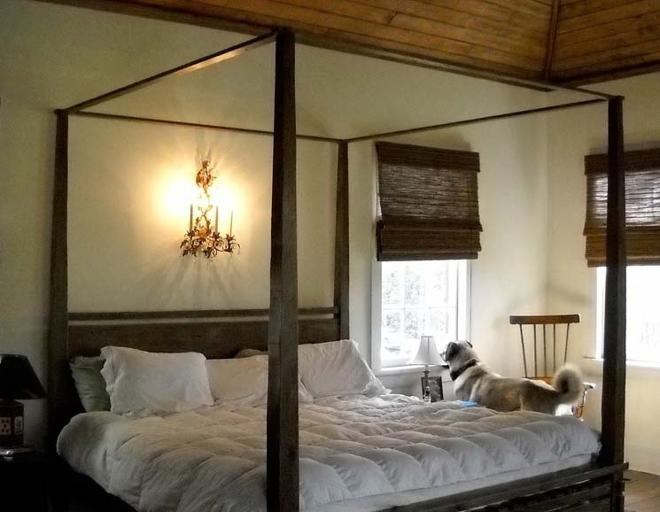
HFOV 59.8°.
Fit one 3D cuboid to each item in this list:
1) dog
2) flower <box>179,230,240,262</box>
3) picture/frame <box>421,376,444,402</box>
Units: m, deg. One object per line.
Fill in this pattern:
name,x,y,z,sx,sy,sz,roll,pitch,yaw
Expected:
dog,1.477,1.164,4.817,1.224,0.739,0.331,2,0,41
flower,-0.993,-0.097,4.788,0.494,0.247,0.117,0,1,-17
picture/frame,0.980,1.263,5.478,0.266,0.306,0.039,3,-9,-40
